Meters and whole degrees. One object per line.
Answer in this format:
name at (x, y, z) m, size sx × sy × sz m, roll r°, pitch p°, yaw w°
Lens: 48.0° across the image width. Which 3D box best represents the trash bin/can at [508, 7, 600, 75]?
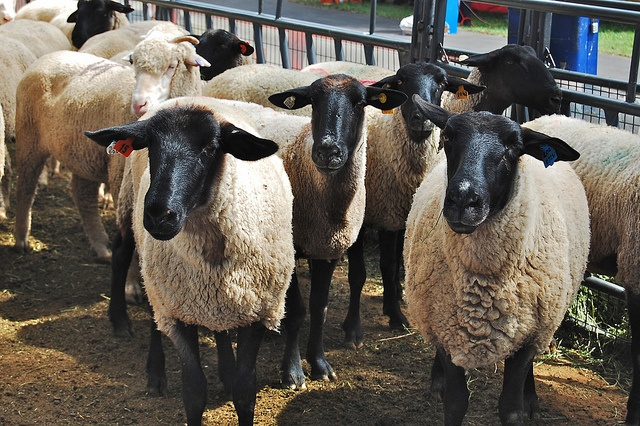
trash bin/can at (3.170, -2.333, 9.713) m, size 1.414 × 0.733 × 0.784 m, roll 15°, pitch 16°, yaw 33°
